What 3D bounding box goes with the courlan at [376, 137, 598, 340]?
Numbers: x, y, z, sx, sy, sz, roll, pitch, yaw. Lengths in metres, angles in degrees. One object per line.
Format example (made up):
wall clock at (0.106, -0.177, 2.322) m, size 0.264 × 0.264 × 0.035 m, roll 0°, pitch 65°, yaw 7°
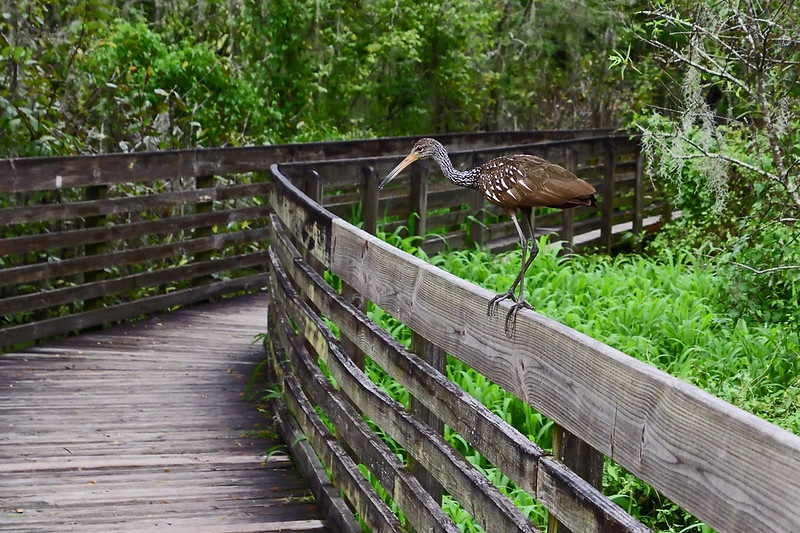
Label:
courlan at (0.464, -0.208, 3.588) m, size 1.082 × 1.071 × 0.269 m, roll -5°, pitch 3°, yaw 31°
